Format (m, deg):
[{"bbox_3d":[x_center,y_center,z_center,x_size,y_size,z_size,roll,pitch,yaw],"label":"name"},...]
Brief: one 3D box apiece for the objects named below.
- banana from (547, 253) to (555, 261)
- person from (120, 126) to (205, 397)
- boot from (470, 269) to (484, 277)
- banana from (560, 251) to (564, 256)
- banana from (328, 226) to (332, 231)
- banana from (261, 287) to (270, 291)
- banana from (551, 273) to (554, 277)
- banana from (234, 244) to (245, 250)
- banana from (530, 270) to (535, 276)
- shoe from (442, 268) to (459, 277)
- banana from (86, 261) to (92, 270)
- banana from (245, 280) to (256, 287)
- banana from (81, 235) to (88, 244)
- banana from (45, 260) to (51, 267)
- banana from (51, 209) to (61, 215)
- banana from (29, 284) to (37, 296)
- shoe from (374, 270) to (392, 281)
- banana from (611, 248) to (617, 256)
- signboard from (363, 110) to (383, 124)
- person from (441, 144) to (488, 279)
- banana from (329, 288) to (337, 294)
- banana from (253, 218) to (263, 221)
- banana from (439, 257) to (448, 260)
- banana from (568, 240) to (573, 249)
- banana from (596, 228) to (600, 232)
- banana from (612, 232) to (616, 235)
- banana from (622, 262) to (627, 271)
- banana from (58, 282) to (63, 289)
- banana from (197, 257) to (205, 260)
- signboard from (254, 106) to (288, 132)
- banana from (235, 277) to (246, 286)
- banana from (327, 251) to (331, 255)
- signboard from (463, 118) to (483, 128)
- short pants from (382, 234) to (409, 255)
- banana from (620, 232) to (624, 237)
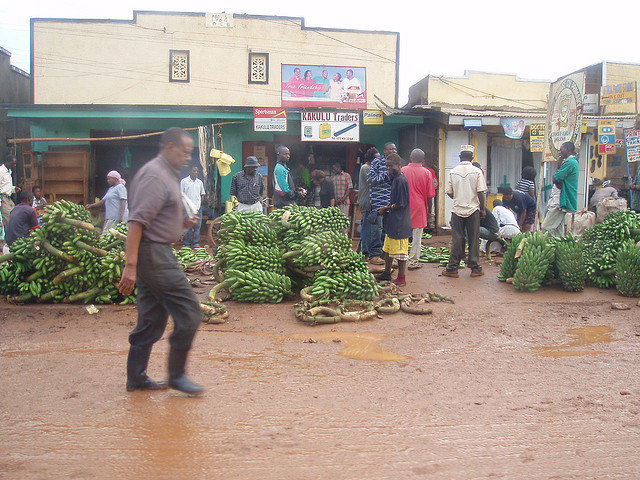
[{"bbox_3d":[3.666,0.274,11.175,0.204,0.055,0.039,-42,60,-19],"label":"banana"},{"bbox_3d":[-1.699,0.233,7.540,0.846,2.801,0.544,0,6,-7],"label":"person"},{"bbox_3d":[2.697,0.575,12.035,0.209,0.089,0.082,-12,15,-42],"label":"boot"},{"bbox_3d":[3.811,0.221,11.110,0.056,0.071,0.027,-4,0,41],"label":"banana"},{"bbox_3d":[0.152,-0.158,10.881,0.012,0.038,0.078,6,8,43],"label":"banana"},{"bbox_3d":[-0.814,0.719,10.381,0.160,0.075,0.051,5,-3,-21],"label":"banana"},{"bbox_3d":[3.737,0.575,11.321,0.033,0.033,0.018,-28,10,39],"label":"banana"},{"bbox_3d":[-1.205,0.111,10.565,0.165,0.044,0.058,30,36,32],"label":"banana"},{"bbox_3d":[3.312,0.515,11.008,0.047,0.083,0.028,3,8,27],"label":"banana"},{"bbox_3d":[2.211,0.561,12.058,0.116,0.127,0.269,-2,12,-25],"label":"shoe"},{"bbox_3d":[-3.317,0.387,10.119,0.021,0.078,0.078,32,-24,10],"label":"banana"},{"bbox_3d":[-1.028,0.633,10.335,0.146,0.082,0.050,0,6,-7],"label":"banana"},{"bbox_3d":[-3.400,-0.003,10.165,0.087,0.111,0.040,-1,6,-20],"label":"banana"},{"bbox_3d":[-3.903,0.354,10.096,0.019,0.028,0.054,28,65,40],"label":"banana"},{"bbox_3d":[-3.739,-0.380,10.000,0.109,0.070,0.034,-1,6,-22],"label":"banana"},{"bbox_3d":[-4.124,0.731,10.157,0.042,0.176,0.048,-25,7,38],"label":"banana"},{"bbox_3d":[0.995,0.576,11.433,0.341,0.132,0.125,5,7,37],"label":"shoe"},{"bbox_3d":[4.656,0.194,11.179,0.030,0.029,0.100,-12,43,9],"label":"banana"},{"bbox_3d":[1.293,-2.930,17.142,0.573,0.366,0.299,1,10,0],"label":"signboard"},{"bbox_3d":[2.467,-0.487,12.130,0.833,2.218,0.730,1,2,14],"label":"person"},{"bbox_3d":[0.187,0.748,10.284,0.113,0.088,0.046,0,6,-10],"label":"banana"},{"bbox_3d":[-0.968,-0.302,11.014,0.142,0.039,0.023,-1,6,-21],"label":"banana"},{"bbox_3d":[2.327,0.366,13.395,0.121,0.026,0.143,2,5,11],"label":"banana"},{"bbox_3d":[3.953,0.089,11.115,0.085,0.133,0.038,1,-8,22],"label":"banana"},{"bbox_3d":[4.566,-0.151,11.583,0.027,0.115,0.023,-19,13,31],"label":"banana"},{"bbox_3d":[4.726,-0.089,11.334,0.044,0.042,0.010,-3,-4,22],"label":"banana"},{"bbox_3d":[4.625,0.414,10.720,0.033,0.117,0.023,-24,11,1],"label":"banana"},{"bbox_3d":[-3.762,0.658,10.212,0.070,0.100,0.017,-9,9,-32],"label":"banana"},{"bbox_3d":[-2.164,0.337,12.647,0.087,0.008,0.174,2,6,16],"label":"banana"},{"bbox_3d":[-1.195,-2.843,16.888,0.636,0.421,0.080,0,-1,-5],"label":"signboard"},{"bbox_3d":[-1.158,0.614,10.355,0.184,0.056,0.052,41,3,-11],"label":"banana"},{"bbox_3d":[0.130,0.202,10.429,0.047,0.032,0.059,-3,-5,-6],"label":"banana"},{"bbox_3d":[3.665,-2.741,16.829,0.514,0.235,0.158,-1,6,-19],"label":"signboard"},{"bbox_3d":[1.173,0.085,11.160,0.267,0.403,0.442,-2,9,-23],"label":"short pants"},{"bbox_3d":[4.828,-0.076,11.270,0.043,0.069,0.016,-14,9,36],"label":"banana"}]
